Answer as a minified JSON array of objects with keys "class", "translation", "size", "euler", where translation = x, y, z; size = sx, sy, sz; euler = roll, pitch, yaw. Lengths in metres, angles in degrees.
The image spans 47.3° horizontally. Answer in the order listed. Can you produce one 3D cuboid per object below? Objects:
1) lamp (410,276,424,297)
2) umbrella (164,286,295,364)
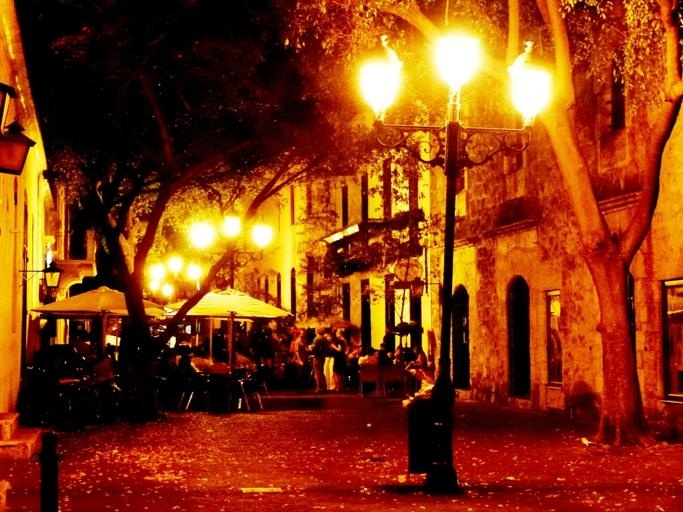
[{"class":"lamp","translation":[2.467,0.959,24.992],"size":[0.494,0.803,0.494],"euler":[-3,5,-39]},{"class":"umbrella","translation":[-3.247,1.851,22.460],"size":[2.492,2.452,2.652],"euler":[5,-16,-20]}]
